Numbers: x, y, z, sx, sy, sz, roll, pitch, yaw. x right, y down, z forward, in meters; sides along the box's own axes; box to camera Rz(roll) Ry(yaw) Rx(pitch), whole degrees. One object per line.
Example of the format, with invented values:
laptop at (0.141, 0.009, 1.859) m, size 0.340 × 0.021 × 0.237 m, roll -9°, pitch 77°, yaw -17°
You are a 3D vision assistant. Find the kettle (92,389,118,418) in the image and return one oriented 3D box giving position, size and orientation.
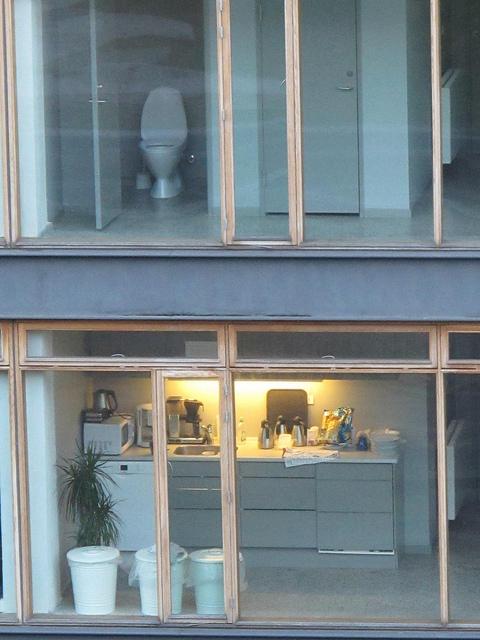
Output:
kettle at (-0.930, 0.572, 8.551) m, size 0.198 × 0.232 × 0.135 m, roll 5°, pitch 9°, yaw 10°

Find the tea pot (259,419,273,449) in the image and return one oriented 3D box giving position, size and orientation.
tea pot at (0.176, 0.780, 8.430) m, size 0.110 × 0.196 × 0.059 m, roll -4°, pitch -5°, yaw 1°

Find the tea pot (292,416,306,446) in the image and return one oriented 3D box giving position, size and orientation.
tea pot at (0.404, 0.769, 8.464) m, size 0.113 × 0.199 × 0.171 m, roll 0°, pitch 4°, yaw 7°

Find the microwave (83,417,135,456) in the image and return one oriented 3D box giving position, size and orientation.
microwave at (-0.895, 0.803, 8.606) m, size 0.250 × 0.247 × 0.360 m, roll 0°, pitch 4°, yaw 9°

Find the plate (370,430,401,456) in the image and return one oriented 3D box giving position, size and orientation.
plate at (0.989, 0.843, 8.439) m, size 0.202 × 0.183 × 0.070 m, roll -5°, pitch -5°, yaw 5°
